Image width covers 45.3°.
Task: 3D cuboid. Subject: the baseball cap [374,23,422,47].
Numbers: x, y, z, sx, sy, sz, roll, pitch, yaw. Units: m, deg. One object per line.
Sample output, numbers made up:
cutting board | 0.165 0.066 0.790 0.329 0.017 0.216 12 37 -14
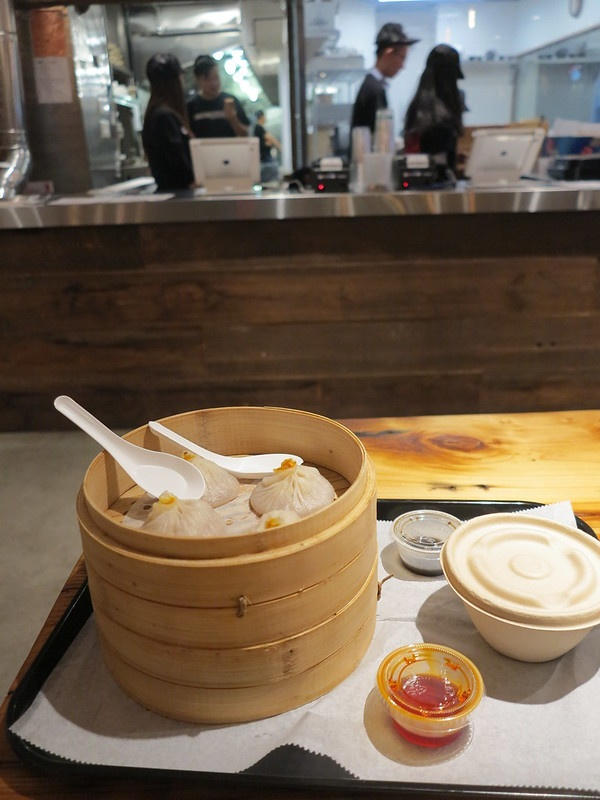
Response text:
baseball cap | 0.503 -1.938 3.850 0.181 0.128 0.201 0 26 3

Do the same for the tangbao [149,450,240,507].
tangbao | -0.109 0.090 0.810 0.065 0.025 0.058 14 41 -9

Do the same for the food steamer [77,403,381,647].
food steamer | -0.095 0.074 0.805 0.314 0.092 0.310 -6 6 9

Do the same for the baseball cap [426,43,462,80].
baseball cap | 0.779 -1.788 3.837 0.164 0.209 0.200 4 54 16

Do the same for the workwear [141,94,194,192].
workwear | -0.678 -1.328 3.646 0.183 0.314 0.258 -15 28 -36

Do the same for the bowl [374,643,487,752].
bowl | 0.114 0.272 0.661 0.095 0.042 0.089 3 29 -1

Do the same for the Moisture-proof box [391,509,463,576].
Moisture-proof box | 0.155 0.174 0.889 0.074 0.032 0.073 -24 36 -37

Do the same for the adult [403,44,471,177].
adult | 0.732 -1.576 3.950 0.346 0.732 0.227 5 60 11

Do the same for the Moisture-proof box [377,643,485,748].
Moisture-proof box | 0.117 0.271 0.666 0.093 0.042 0.087 -27 42 -34

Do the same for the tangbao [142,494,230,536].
tangbao | -0.112 0.113 0.686 0.054 0.021 0.050 1 11 -21
